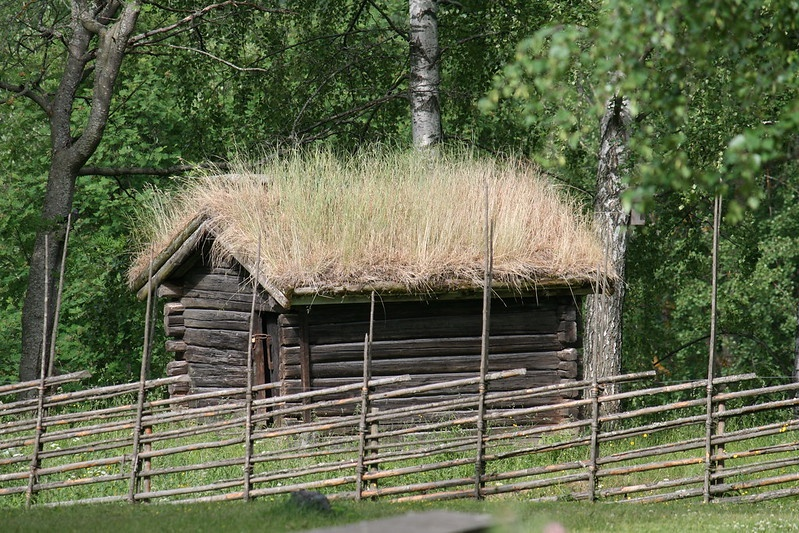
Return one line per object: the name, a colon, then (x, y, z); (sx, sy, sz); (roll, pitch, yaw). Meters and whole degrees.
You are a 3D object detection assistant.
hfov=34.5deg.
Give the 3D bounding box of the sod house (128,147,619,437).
sod house: (0.211, 0.003, 25.121); (7.354, 4.248, 7.137); (-1, 11, -7)
